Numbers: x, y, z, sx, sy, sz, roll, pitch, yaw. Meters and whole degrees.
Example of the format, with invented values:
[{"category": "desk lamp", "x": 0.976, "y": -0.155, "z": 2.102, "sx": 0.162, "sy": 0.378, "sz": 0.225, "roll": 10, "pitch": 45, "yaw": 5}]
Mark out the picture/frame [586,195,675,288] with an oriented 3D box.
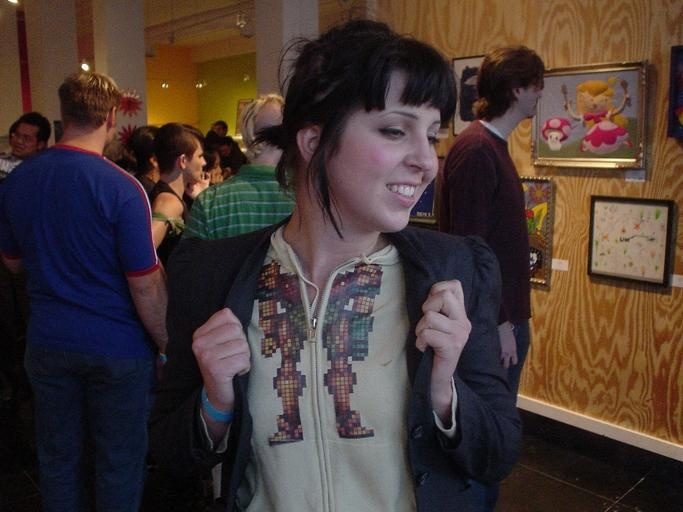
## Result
[{"category": "picture/frame", "x": 1.927, "y": -0.098, "z": 3.494, "sx": 0.498, "sy": 0.638, "sz": 0.047, "roll": 6, "pitch": 5, "yaw": 44}]
